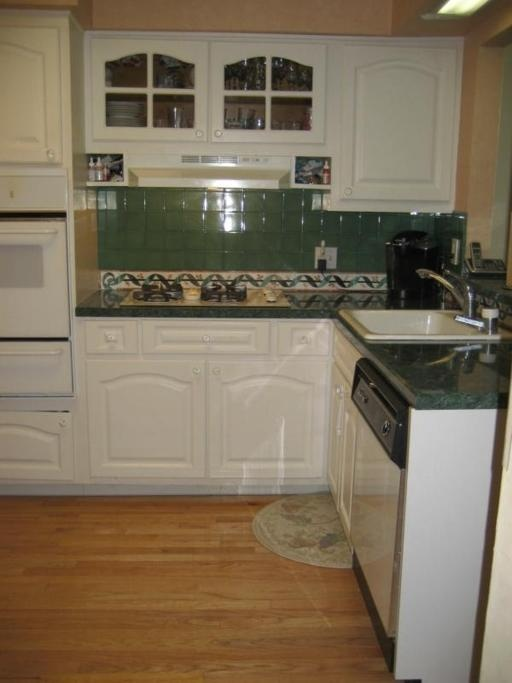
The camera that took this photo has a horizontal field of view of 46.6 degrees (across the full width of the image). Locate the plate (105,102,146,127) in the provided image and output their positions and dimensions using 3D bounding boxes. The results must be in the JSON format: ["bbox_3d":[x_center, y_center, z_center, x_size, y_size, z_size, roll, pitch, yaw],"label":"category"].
[{"bbox_3d":[-0.608,-1.051,2.749,0.130,0.085,0.005,0,8,-4],"label":"plate"}]

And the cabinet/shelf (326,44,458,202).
[{"bbox_3d":[0.630,-1.061,2.800,0.661,0.832,0.463,1,9,0],"label":"cabinet/shelf"}]

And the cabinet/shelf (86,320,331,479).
[{"bbox_3d":[-0.219,0.318,2.949,1.253,0.873,0.696,-1,6,1],"label":"cabinet/shelf"}]

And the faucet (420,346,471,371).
[{"bbox_3d":[0.553,0.050,1.746,0.192,0.047,0.032,-8,-4,-39],"label":"faucet"}]

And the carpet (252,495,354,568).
[{"bbox_3d":[0.177,0.795,2.561,0.378,0.021,0.648,0,9,-1],"label":"carpet"}]

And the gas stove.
[{"bbox_3d":[-0.248,-0.229,2.919,0.779,0.058,0.601,0,9,-3],"label":"gas stove"}]

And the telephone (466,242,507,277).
[{"bbox_3d":[1.017,-0.373,2.657,0.155,0.090,0.151,-1,19,0],"label":"telephone"}]
